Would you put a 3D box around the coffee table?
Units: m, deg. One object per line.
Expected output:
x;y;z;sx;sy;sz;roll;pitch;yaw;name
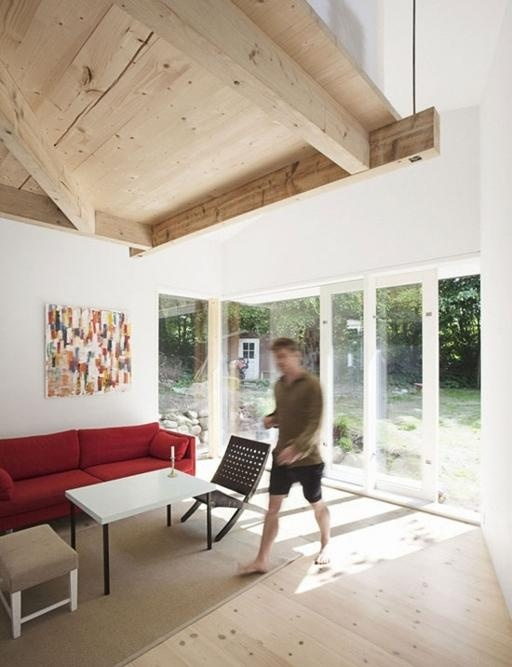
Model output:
-0.817;1.160;3.420;0.816;0.398;0.528;-4;12;-44;coffee table

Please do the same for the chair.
-0.230;1.160;3.996;0.756;0.779;0.537;3;-5;-40;chair
